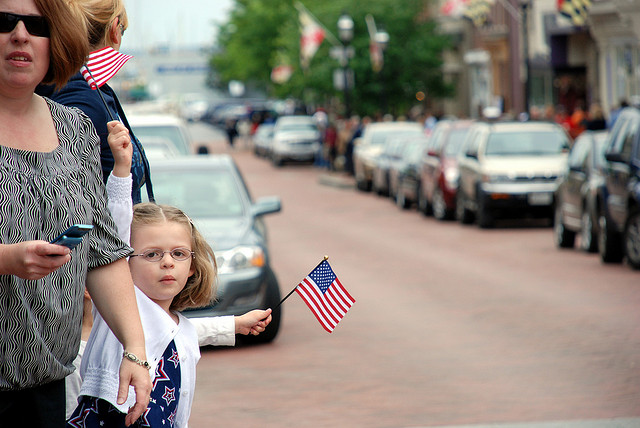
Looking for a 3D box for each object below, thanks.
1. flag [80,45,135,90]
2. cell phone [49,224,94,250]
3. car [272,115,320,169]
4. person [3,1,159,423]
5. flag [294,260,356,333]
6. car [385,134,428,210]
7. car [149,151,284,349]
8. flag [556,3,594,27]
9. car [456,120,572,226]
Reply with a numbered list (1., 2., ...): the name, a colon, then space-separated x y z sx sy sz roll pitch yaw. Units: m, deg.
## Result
1. flag: -1.180 -0.784 6.134 0.209 0.232 0.504 -2 5 10
2. cell phone: -0.988 0.088 4.559 0.159 0.100 0.203 -4 5 -14
3. car: -1.013 -2.780 45.201 1.809 1.782 2.872 -3 5 -2
4. person: -1.105 -0.025 5.010 0.607 1.803 0.409 -4 5 -16
5. flag: 0.009 0.453 6.361 0.327 0.413 0.177 -3 5 -8
6. car: 1.808 -0.955 25.064 0.765 0.838 1.686 0 -2 -5
7. car: -1.027 0.143 11.031 1.109 1.024 2.100 -1 -1 -3
8. flag: 6.652 -5.339 30.597 0.766 0.563 0.819 -1 5 13
9. car: 3.255 -0.695 19.804 1.737 1.759 2.364 -2 5 1
